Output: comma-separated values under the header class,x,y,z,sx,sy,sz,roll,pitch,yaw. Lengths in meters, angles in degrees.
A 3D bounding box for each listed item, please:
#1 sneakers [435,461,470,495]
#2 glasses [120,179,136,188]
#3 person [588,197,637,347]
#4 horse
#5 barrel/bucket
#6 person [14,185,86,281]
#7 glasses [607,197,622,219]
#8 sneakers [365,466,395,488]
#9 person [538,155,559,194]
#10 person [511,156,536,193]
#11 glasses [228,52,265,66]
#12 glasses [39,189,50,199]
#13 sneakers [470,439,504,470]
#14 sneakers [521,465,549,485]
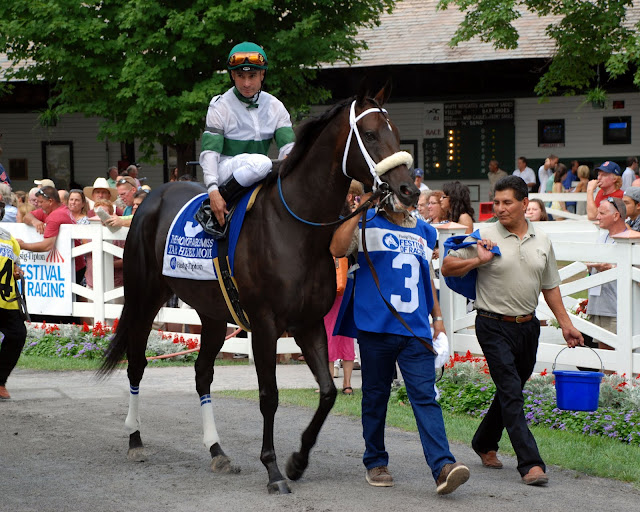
class,x,y,z,sx,sy,sz,roll,pitch,yaw
sneakers,0.953,1.623,6.579,0.147,0.309,0.137,20,35,-41
glasses,-2.945,-1.134,13.657,0.214,0.146,0.155,-16,13,-36
person,3.025,0.232,9.496,0.412,1.676,1.487,3,7,19
horse,-0.522,0.219,7.187,2.964,3.017,0.781,5,8,38
barrel/bucket,2.238,1.040,7.797,0.553,0.652,0.424,1,3,16
person,-4.024,-0.212,13.208,1.068,1.529,0.749,-13,23,-42
glasses,3.196,-0.516,9.611,0.105,0.201,0.162,1,7,-14
sneakers,0.464,1.704,6.928,0.214,0.131,0.143,1,6,3
person,5.477,-1.941,21.477,0.422,1.189,1.140,-3,19,6
person,5.214,-2.065,23.245,0.767,1.010,0.560,14,24,42
glasses,-0.603,-1.614,7.372,0.288,0.124,0.125,0,7,-4
glasses,-4.051,-0.920,13.077,0.112,0.141,0.081,-1,-12,1
sneakers,1.379,1.665,7.509,0.123,0.145,0.343,5,10,-40
sneakers,1.669,1.712,6.939,0.097,0.089,0.218,0,-8,-7
